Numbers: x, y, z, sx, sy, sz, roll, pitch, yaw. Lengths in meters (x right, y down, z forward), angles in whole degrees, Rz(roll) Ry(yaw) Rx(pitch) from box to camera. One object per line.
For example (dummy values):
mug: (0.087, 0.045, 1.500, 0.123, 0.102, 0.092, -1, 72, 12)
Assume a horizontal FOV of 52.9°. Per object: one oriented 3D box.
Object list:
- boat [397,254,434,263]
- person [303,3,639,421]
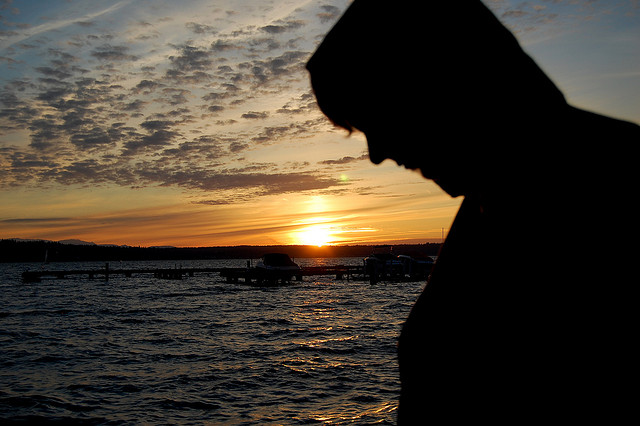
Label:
boat: (7.248, 3.343, 49.109, 3.019, 0.481, 2.629, 0, -1, 12)
person: (0.330, -0.001, 1.480, 0.727, 0.950, 0.250, 2, -4, 2)
